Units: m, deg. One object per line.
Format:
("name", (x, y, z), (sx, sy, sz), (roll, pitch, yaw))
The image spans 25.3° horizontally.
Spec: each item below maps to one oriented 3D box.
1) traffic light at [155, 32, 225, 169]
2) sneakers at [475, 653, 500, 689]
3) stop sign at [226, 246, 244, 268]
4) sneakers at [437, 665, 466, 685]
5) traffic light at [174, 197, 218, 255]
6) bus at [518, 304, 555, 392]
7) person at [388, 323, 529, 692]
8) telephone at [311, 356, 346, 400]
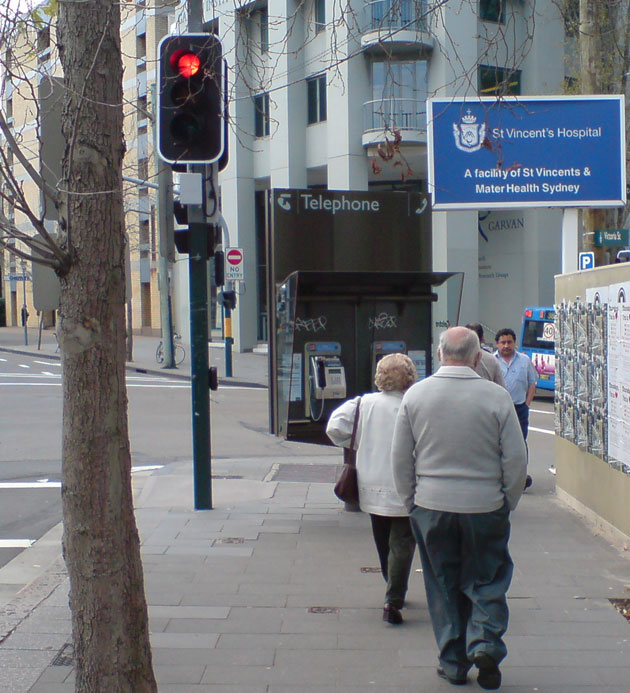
("traffic light", (-0.920, -1.880, 10.365), (0.505, 1.008, 1.015), (-1, 4, -5))
("sneakers", (0.909, 1.784, 7.469), (0.087, 0.236, 0.096), (-6, 12, 6))
("stop sign", (-1.491, -1.594, 25.763), (0.281, 0.310, 0.819), (-1, 4, -8))
("sneakers", (0.722, 1.844, 7.637), (0.179, 0.073, 0.082), (2, 4, 27))
("traffic light", (-0.960, -0.922, 11.349), (0.388, 0.548, 0.304), (0, 3, -3))
("bus", (3.207, 0.074, 20.477), (0.472, 1.255, 1.272), (0, 0, 10))
("person", (0.821, 0.898, 7.810), (0.501, 1.943, 0.727), (-3, 5, -42))
("telephone", (0.115, 0.307, 11.898), (0.250, 0.445, 0.220), (-2, -12, -5))
